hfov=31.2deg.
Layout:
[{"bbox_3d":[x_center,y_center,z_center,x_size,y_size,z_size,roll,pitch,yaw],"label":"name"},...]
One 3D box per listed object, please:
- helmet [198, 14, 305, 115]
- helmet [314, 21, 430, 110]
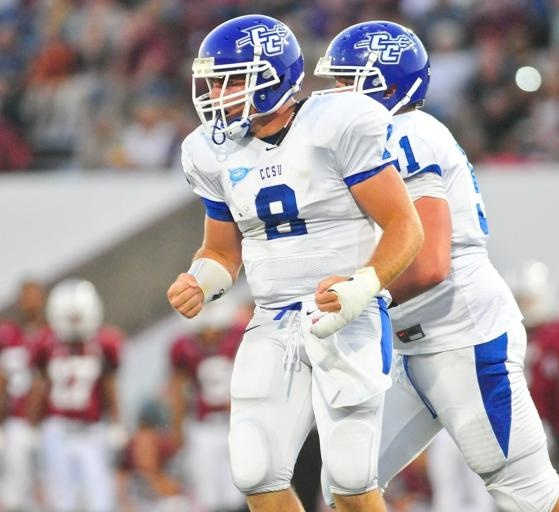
[{"bbox_3d":[-0.115,-0.648,3.519,0.387,0.302,0.294,-17,4,-15],"label":"helmet"},{"bbox_3d":[0.351,-0.733,3.906,0.409,0.320,0.307,-1,4,-4],"label":"helmet"}]
